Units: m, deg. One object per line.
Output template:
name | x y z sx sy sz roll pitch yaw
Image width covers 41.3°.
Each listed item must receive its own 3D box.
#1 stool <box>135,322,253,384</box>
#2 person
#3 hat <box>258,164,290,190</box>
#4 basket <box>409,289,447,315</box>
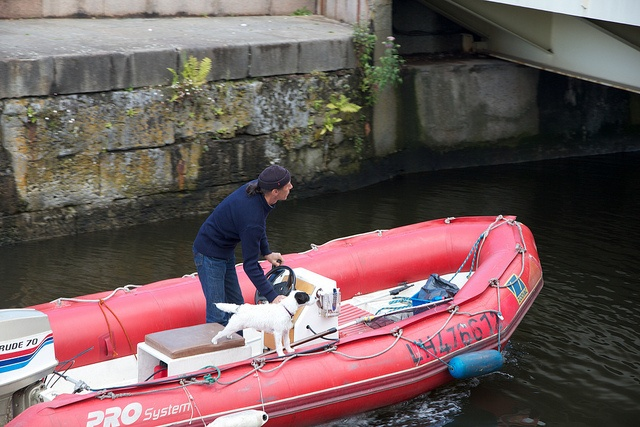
stool | -1.331 1.247 8.796 1.118 0.535 0.688 -6 8 -34
person | -0.891 0.399 9.694 1.370 2.073 0.961 9 53 -17
hat | -0.472 -0.377 8.843 0.351 0.165 0.251 -22 26 -34
basket | 1.250 1.033 9.974 0.365 0.108 0.244 -20 29 -30
